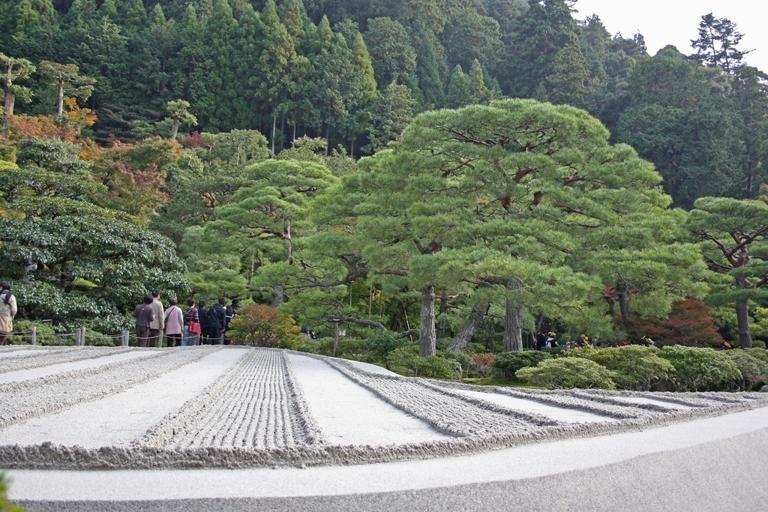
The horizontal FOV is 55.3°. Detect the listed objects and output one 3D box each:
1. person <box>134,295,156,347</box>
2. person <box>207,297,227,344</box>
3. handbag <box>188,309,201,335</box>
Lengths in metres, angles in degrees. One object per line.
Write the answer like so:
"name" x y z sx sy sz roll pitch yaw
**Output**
"person" -7.069 1.935 21.524 0.508 1.544 0.829 2 2 -19
"person" -5.679 2.228 24.796 0.640 1.644 1.058 2 2 -13
"handbag" -6.238 2.139 24.096 0.378 0.824 0.983 2 2 -15
